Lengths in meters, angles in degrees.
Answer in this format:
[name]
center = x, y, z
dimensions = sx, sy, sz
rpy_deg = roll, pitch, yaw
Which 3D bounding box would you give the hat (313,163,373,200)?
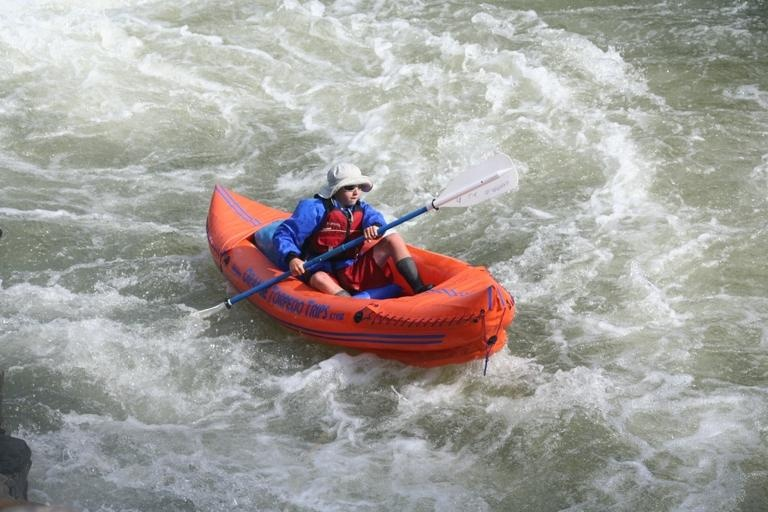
[hat]
center = -0.531, -0.844, 14.110
dimensions = 0.603, 0.518, 0.239
rpy_deg = -16, 97, -28

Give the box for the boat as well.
[boat]
center = -0.541, 0.408, 14.103
dimensions = 3.823, 1.013, 1.675
rpy_deg = 20, 37, 25
